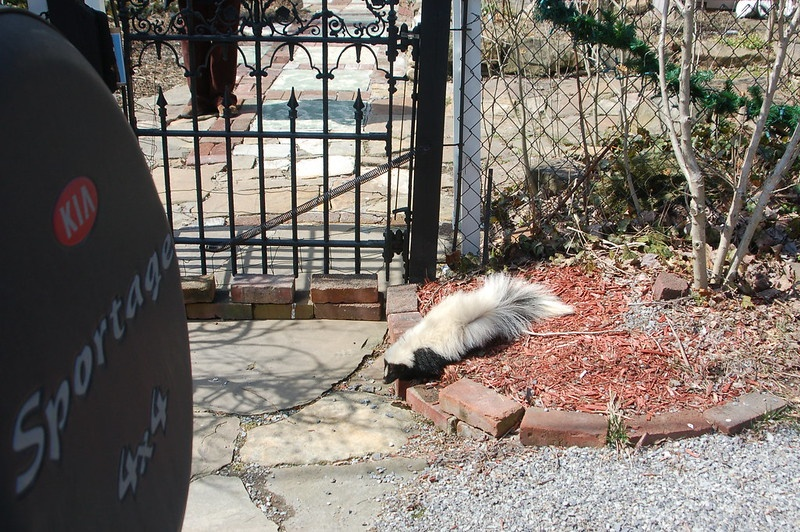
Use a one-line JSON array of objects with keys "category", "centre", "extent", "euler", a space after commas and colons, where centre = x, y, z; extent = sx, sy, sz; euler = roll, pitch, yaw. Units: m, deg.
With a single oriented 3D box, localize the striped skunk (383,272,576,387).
[{"category": "striped skunk", "centre": [0.425, 0.360, 4.118], "extent": [1.086, 0.530, 0.364], "euler": [-3, 10, -21]}]
